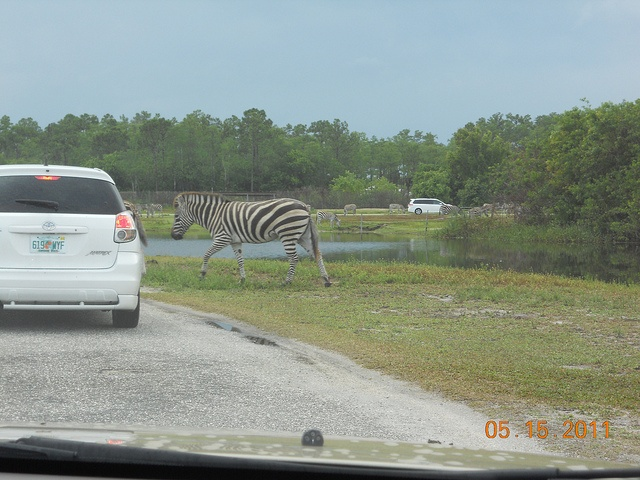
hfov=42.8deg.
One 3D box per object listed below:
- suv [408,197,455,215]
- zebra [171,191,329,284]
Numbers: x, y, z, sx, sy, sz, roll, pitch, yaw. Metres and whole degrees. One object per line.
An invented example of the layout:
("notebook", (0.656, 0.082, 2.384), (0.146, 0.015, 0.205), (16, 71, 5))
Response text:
("suv", (9.251, -2.510, 68.136), (3.822, 1.163, 1.767), (-1, 14, 9))
("zebra", (-1.882, -0.056, 20.922), (4.444, 2.302, 1.020), (-1, 2, 16))
